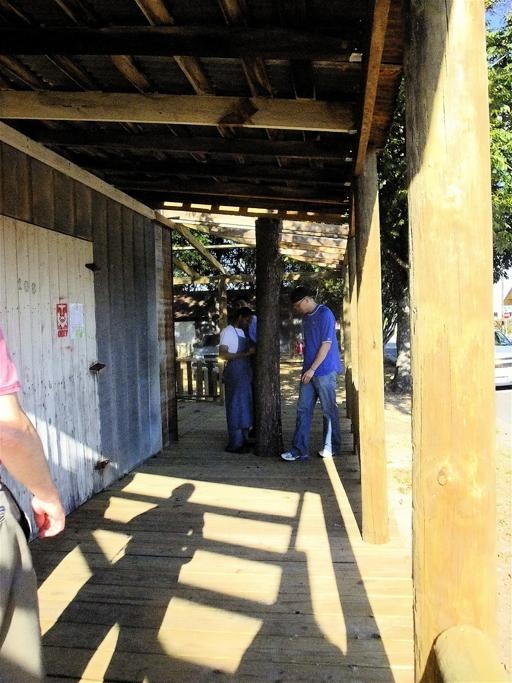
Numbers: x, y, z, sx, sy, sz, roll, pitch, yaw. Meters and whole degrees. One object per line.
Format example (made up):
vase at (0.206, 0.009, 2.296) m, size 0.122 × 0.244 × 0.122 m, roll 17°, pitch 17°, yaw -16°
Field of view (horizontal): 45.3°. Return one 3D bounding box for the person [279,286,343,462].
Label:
person at (0.591, 0.334, 6.453) m, size 0.597 × 1.840 × 0.864 m, roll 0°, pitch 1°, yaw 6°

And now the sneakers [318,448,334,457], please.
sneakers at (0.749, 1.185, 6.507) m, size 0.166 × 0.081 × 0.072 m, roll 2°, pitch -1°, yaw 29°

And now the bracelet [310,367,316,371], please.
bracelet at (0.574, 0.276, 6.079) m, size 0.029 × 0.037 × 0.015 m, roll -1°, pitch -12°, yaw -2°

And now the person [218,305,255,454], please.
person at (-0.220, 0.426, 7.058) m, size 0.389 × 1.631 × 0.470 m, roll 0°, pitch 1°, yaw -3°

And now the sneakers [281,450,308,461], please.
sneakers at (0.418, 1.215, 6.454) m, size 0.256 × 0.125 × 0.114 m, roll 5°, pitch -6°, yaw 3°

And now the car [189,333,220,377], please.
car at (-1.235, 0.331, 14.989) m, size 0.913 × 0.769 × 2.186 m, roll -1°, pitch 0°, yaw -7°

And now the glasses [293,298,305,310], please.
glasses at (0.459, -0.378, 6.415) m, size 0.096 × 0.108 × 0.052 m, roll 11°, pitch 34°, yaw 38°
